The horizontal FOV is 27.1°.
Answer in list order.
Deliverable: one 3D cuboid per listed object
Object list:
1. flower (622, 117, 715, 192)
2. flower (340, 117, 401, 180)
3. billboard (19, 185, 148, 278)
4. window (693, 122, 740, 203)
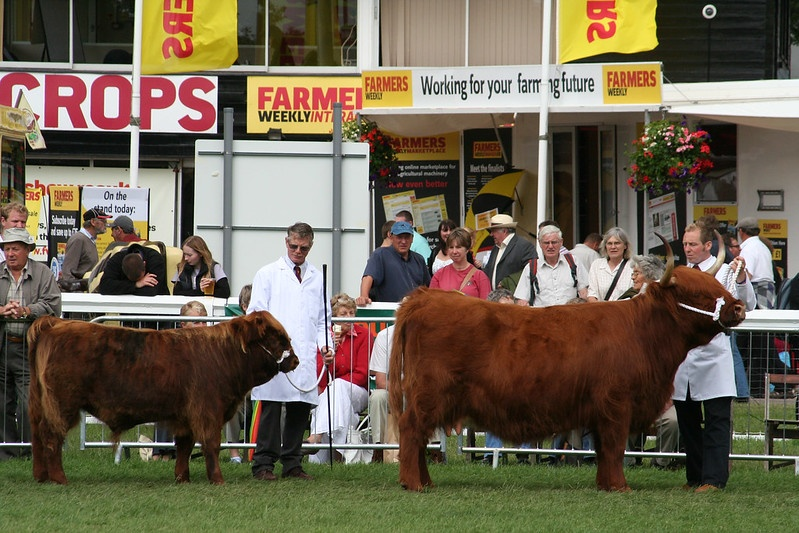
[{"bbox_3d":[4.925,-2.012,29.389,1.175,1.277,1.355,1,6,41],"label":"flower"},{"bbox_3d":[-0.496,-2.241,30.485,0.666,1.100,1.141,-2,-2,31],"label":"flower"},{"bbox_3d":[-5.209,-0.611,27.875,1.489,1.252,0.069,0,-3,5],"label":"billboard"},{"bbox_3d":[6.092,-2.059,31.885,0.881,1.900,0.079,0,-25,13],"label":"window"}]
